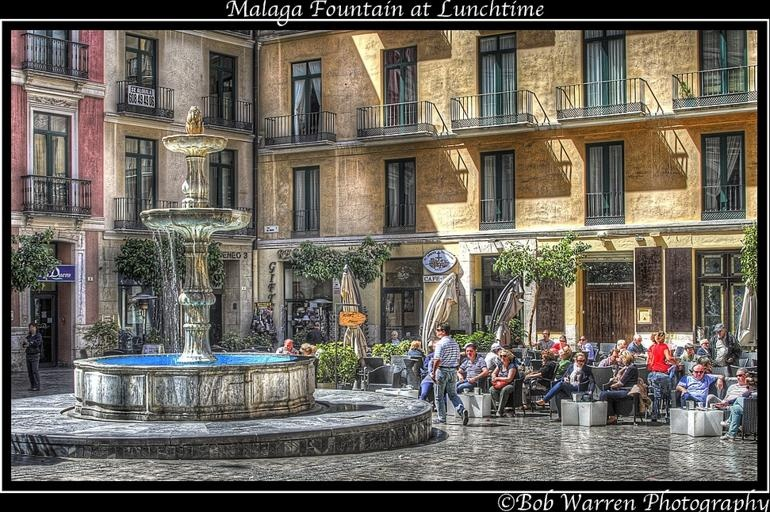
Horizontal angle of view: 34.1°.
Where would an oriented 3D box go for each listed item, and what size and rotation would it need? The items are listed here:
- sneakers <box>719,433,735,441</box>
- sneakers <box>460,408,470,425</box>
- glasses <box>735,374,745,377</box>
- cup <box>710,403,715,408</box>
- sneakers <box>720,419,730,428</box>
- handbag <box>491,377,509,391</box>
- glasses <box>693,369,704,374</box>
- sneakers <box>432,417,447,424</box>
[{"bbox_3d":[6.932,3.723,25.546,0.248,0.140,0.125,4,-7,17],"label":"sneakers"},{"bbox_3d":[1.737,3.515,27.233,0.161,0.354,0.155,-8,11,-15],"label":"sneakers"},{"bbox_3d":[7.362,2.510,26.070,0.169,0.083,0.101,-3,-3,35],"label":"glasses"},{"bbox_3d":[6.934,3.220,26.682,0.077,0.066,0.074,0,-6,0],"label":"cup"},{"bbox_3d":[7.012,3.509,26.008,0.235,0.097,0.303,1,-1,-7],"label":"sneakers"},{"bbox_3d":[2.638,2.955,28.735,0.339,0.153,0.443,0,-1,11],"label":"handbag"},{"bbox_3d":[6.741,2.518,27.080,0.176,0.070,0.104,-2,-3,21],"label":"glasses"},{"bbox_3d":[1.133,3.653,27.595,0.164,0.165,0.406,1,2,-22],"label":"sneakers"}]
